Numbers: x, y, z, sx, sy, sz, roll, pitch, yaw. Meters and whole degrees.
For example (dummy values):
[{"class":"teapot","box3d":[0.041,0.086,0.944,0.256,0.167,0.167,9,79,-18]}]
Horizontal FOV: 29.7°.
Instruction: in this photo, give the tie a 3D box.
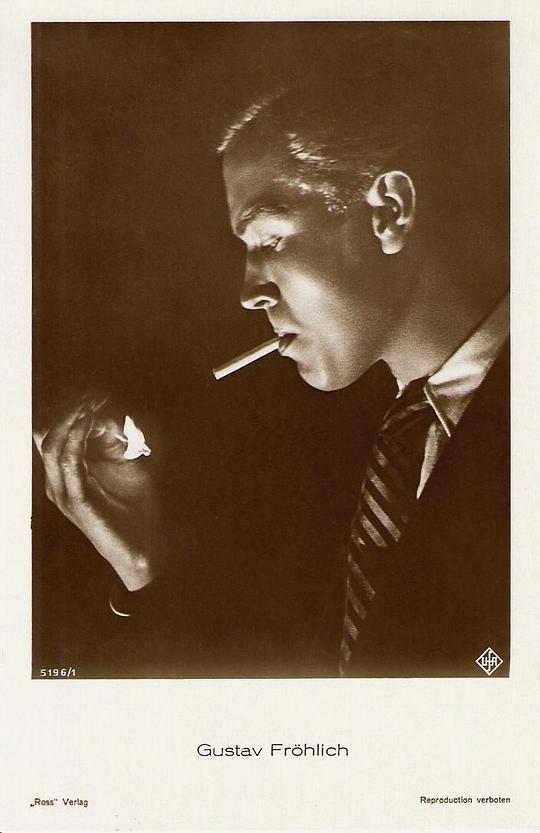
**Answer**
[{"class":"tie","box3d":[0.297,0.286,2.606,0.238,0.739,0.067,-2,6,-28]}]

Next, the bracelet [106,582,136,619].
[{"class":"bracelet","box3d":[-0.379,0.472,2.599,0.064,0.089,0.015,2,5,11]}]
